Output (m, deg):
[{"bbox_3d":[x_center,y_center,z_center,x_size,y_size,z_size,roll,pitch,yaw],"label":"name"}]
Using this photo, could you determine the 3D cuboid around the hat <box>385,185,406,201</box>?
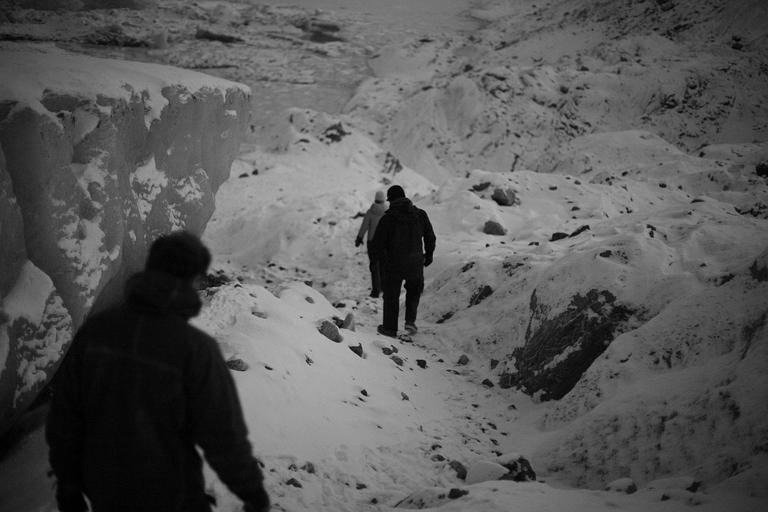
[{"bbox_3d":[0.189,-1.039,13.580,0.299,0.288,0.220,-21,6,3],"label":"hat"}]

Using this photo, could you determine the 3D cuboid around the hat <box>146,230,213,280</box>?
[{"bbox_3d":[-2.410,-0.028,9.883,0.542,0.663,0.692,9,12,6],"label":"hat"}]

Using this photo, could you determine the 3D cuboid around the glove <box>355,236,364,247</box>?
[{"bbox_3d":[-0.445,-0.265,15.065,0.132,0.176,0.171,0,-18,-8],"label":"glove"}]

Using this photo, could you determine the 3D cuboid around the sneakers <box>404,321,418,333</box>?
[{"bbox_3d":[0.457,1.230,14.104,0.118,0.160,0.241,-19,-27,29],"label":"sneakers"}]

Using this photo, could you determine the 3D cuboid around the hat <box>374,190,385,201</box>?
[{"bbox_3d":[-0.071,-1.145,15.372,0.248,0.203,0.335,0,-10,-3],"label":"hat"}]

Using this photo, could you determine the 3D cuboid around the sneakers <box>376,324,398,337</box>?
[{"bbox_3d":[0.054,1.293,13.928,0.309,0.203,0.169,0,-1,19],"label":"sneakers"}]
